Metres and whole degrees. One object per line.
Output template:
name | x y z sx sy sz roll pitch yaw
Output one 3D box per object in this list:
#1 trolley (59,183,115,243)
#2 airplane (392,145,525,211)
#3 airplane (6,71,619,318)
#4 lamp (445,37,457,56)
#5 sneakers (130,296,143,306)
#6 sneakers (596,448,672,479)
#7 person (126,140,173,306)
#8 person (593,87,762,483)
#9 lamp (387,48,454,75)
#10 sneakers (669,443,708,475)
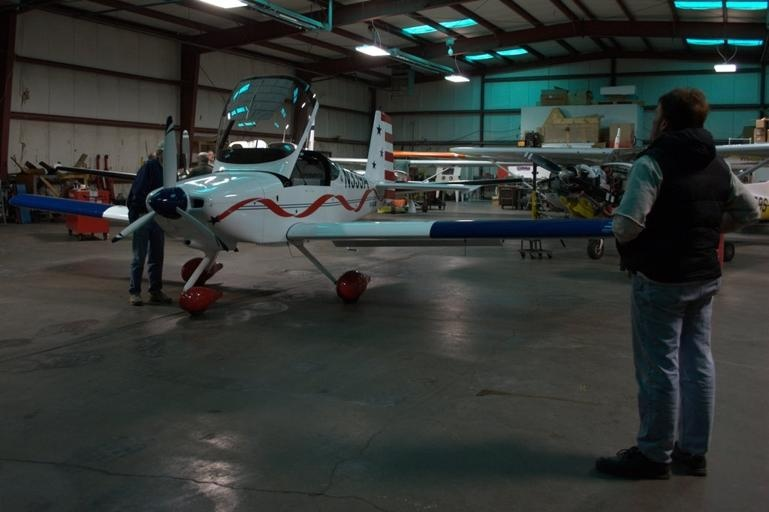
trolley | -6.565 -0.919 11.526 0.855 1.015 0.888 6 7 29
airplane | 2.834 -3.596 24.104 6.343 1.783 7.037 -13 10 -23
airplane | -0.167 -0.856 6.543 4.498 2.588 4.005 1 12 1
lamp | 2.669 -8.570 21.762 0.485 0.629 0.729 0 -3 2
sneakers | -2.802 0.498 6.048 0.085 0.066 0.187 1 6 -36
sneakers | 1.347 1.156 3.011 0.446 0.142 0.152 3 -5 8
person | -2.684 -0.332 5.986 0.470 1.757 1.046 -6 15 -25
person | 1.569 0.153 2.921 0.682 2.104 0.636 6 15 19
lamp | 1.597 -8.411 22.861 0.682 0.291 3.448 -17 -8 40
sneakers | 1.634 1.161 2.982 0.109 0.163 0.267 -1 -18 4
